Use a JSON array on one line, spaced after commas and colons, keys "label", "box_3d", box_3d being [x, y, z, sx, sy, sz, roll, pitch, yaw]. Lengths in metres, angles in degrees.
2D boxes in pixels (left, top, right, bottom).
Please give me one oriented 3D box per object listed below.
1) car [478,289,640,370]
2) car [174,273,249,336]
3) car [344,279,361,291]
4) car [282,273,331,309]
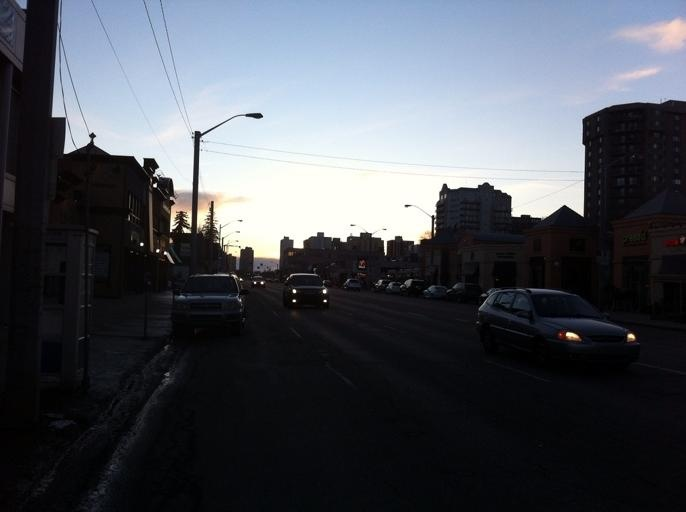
[{"label": "car", "box_3d": [4.838, 1.649, 13.357, 1.836, 1.692, 4.142, 0, 0, -18]}, {"label": "car", "box_3d": [-4.138, 1.412, 17.704, 1.339, 1.311, 2.687, 0, -7, -3]}, {"label": "car", "box_3d": [1.289, 3.974, 75.852, 1.390, 1.288, 3.916, 0, 0, -13]}, {"label": "car", "box_3d": [-2.124, 2.047, 31.717, 2.224, 1.889, 2.646, 0, 0, -24]}]
